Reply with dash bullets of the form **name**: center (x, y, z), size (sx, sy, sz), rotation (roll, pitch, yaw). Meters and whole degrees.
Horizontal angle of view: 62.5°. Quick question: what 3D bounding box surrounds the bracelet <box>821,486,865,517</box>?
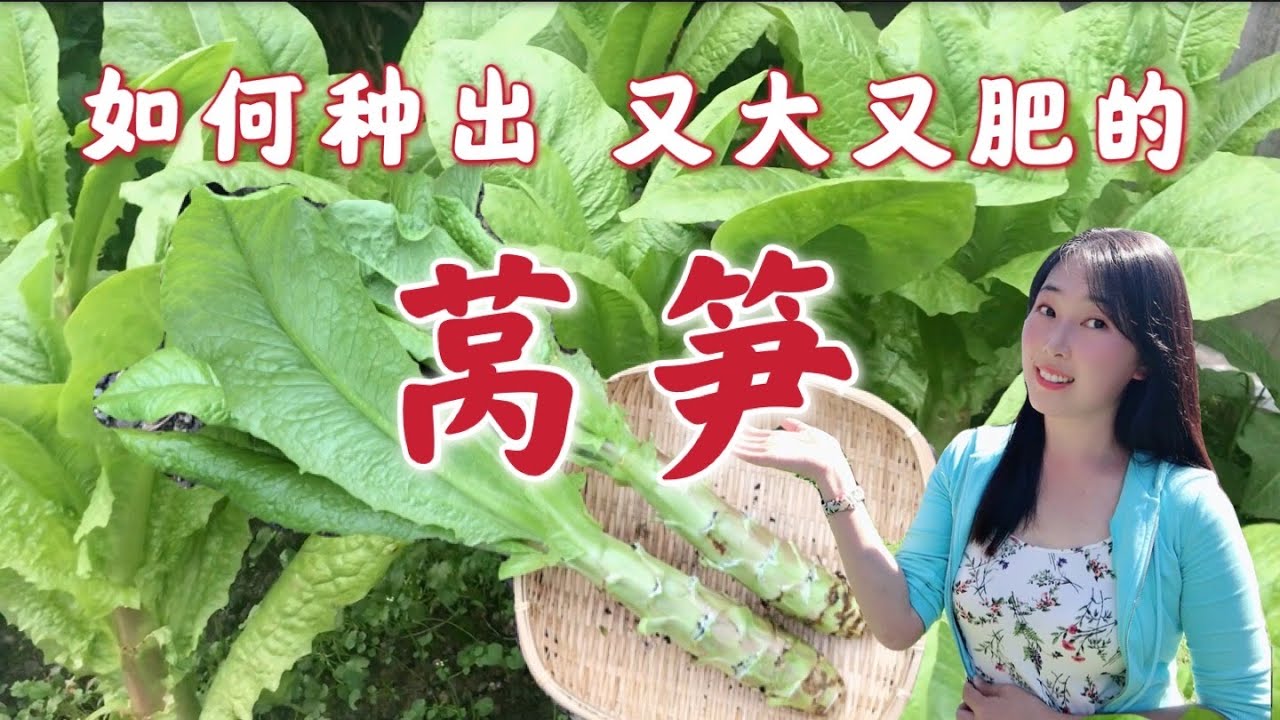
- **bracelet**: center (0.503, 0.356, 2.614), size (0.081, 0.037, 0.078), rotation (-31, 5, 34)
